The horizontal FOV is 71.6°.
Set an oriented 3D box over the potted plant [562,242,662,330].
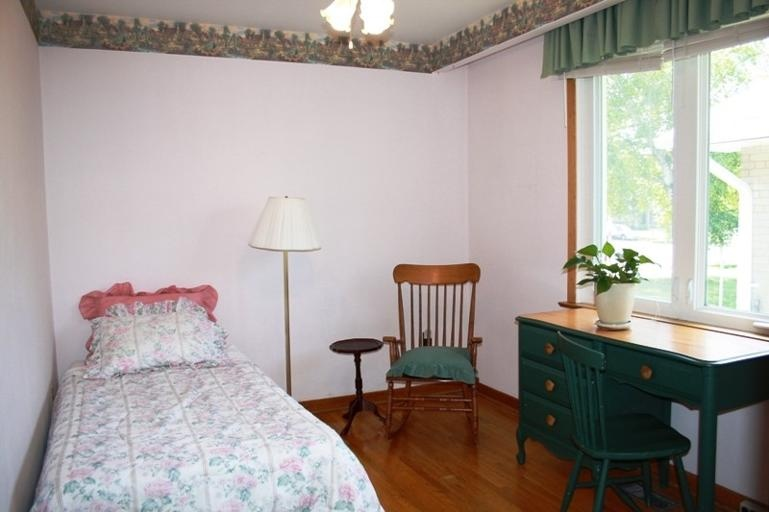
[{"bbox_3d":[1.542,0.178,3.828,0.627,0.571,0.654,0,-3,-10],"label":"potted plant"}]
